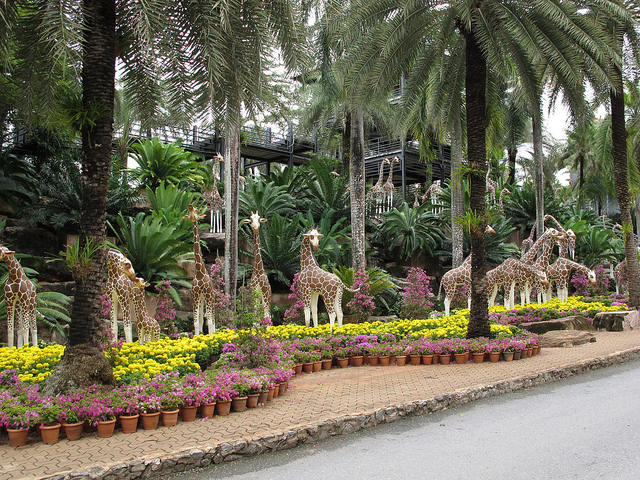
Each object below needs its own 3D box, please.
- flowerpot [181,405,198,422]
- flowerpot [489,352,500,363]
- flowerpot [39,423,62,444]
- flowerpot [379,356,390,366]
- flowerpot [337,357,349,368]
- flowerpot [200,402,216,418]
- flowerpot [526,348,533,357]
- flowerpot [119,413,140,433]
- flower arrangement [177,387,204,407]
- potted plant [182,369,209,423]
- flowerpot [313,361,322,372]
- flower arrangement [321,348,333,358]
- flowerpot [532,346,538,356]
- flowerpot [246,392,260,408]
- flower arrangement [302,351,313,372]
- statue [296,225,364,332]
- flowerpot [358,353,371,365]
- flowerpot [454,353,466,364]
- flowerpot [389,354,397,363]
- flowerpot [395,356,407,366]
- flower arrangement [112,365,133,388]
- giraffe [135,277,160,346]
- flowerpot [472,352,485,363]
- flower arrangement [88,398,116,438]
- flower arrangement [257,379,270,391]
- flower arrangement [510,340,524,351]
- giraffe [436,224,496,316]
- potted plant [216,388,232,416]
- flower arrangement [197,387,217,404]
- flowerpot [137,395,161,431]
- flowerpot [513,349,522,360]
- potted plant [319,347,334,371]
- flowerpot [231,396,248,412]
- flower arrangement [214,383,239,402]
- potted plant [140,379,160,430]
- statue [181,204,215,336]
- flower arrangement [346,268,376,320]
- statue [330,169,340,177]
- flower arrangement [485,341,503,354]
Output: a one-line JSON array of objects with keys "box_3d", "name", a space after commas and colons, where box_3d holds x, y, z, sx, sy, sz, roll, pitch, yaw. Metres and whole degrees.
[{"box_3d": [-1.973, 2.627, 9.483, 0.209, 0.194, 0.232, 0, -6, 6], "name": "flowerpot"}, {"box_3d": [3.595, 2.402, 12.833, 0.169, 0.157, 0.188, 3, -2, 5], "name": "flowerpot"}, {"box_3d": [-3.804, 2.728, 8.811, 0.221, 0.203, 0.244, 1, -7, 4], "name": "flowerpot"}, {"box_3d": [1.370, 2.544, 13.115, 0.153, 0.135, 0.168, 2, -1, 23], "name": "flowerpot"}, {"box_3d": [0.486, 2.540, 13.016, 0.166, 0.154, 0.184, 2, 1, 18], "name": "flowerpot"}, {"box_3d": [-1.733, 2.622, 9.612, 0.212, 0.193, 0.233, 1, 3, -2], "name": "flowerpot"}, {"box_3d": [4.465, 2.391, 13.272, 0.149, 0.132, 0.148, -1, 6, -36], "name": "flowerpot"}, {"box_3d": [-2.774, 2.671, 9.071, 0.214, 0.193, 0.224, 3, -3, -20], "name": "flowerpot"}, {"box_3d": [-1.955, 2.330, 9.502, 0.257, 0.237, 0.300, 2, -1, 35], "name": "flower arrangement"}, {"box_3d": [-1.940, 2.488, 9.753, 0.384, 0.471, 0.657, 1, 9, -13], "name": "potted plant"}, {"box_3d": [-0.054, 2.565, 12.678, 0.154, 0.135, 0.164, 1, 0, -14], "name": "flowerpot"}, {"box_3d": [0.139, 2.342, 12.937, 0.286, 0.173, 0.188, -2, 10, -32], "name": "flower arrangement"}, {"box_3d": [4.608, 2.368, 13.445, 0.155, 0.199, 0.169, -4, 10, -22], "name": "flowerpot"}, {"box_3d": [-1.090, 2.602, 10.100, 0.167, 0.144, 0.173, 2, 1, -22], "name": "flowerpot"}, {"box_3d": [-0.241, 2.458, 12.509, 0.263, 0.234, 0.291, 0, 1, 5], "name": "flower arrangement"}, {"box_3d": [0.047, 1.035, 15.345, 1.351, 2.527, 1.431, 8, 9, 31], "name": "statue"}, {"box_3d": [0.964, 2.525, 13.244, 0.202, 0.179, 0.222, 3, 3, 2], "name": "flowerpot"}, {"box_3d": [2.872, 2.423, 12.784, 0.178, 0.155, 0.188, 3, -1, 40], "name": "flowerpot"}, {"box_3d": [1.539, 2.503, 13.162, 0.147, 0.132, 0.153, 0, 8, -22], "name": "flowerpot"}, {"box_3d": [1.699, 2.521, 13.018, 0.148, 0.137, 0.163, 3, -2, 21], "name": "flowerpot"}, {"box_3d": [-3.259, 2.247, 10.286, 0.268, 0.268, 0.255, 2, -17, -3], "name": "flower arrangement"}, {"box_3d": [-3.604, 1.481, 13.016, 0.506, 1.399, 0.918, 0, 9, -16], "name": "giraffe"}, {"box_3d": [3.247, 2.395, 12.754, 0.170, 0.154, 0.178, 3, 0, 41], "name": "flowerpot"}, {"box_3d": [-3.129, 2.567, 9.027, 0.353, 0.515, 0.301, 2, -7, -45], "name": "flower arrangement"}, {"box_3d": [-0.907, 2.387, 10.240, 0.149, 0.145, 0.147, 5, -7, -24], "name": "flower arrangement"}, {"box_3d": [4.062, 2.174, 12.885, 0.190, 0.186, 0.165, -8, 0, -42], "name": "flower arrangement"}, {"box_3d": [4.322, 0.920, 18.472, 1.639, 2.818, 0.628, -3, 11, 12], "name": "giraffe"}, {"box_3d": [-1.502, 2.527, 9.822, 0.315, 0.383, 0.324, 1, 3, -12], "name": "potted plant"}, {"box_3d": [-1.730, 2.381, 9.594, 0.200, 0.204, 0.215, 6, -12, -26], "name": "flower arrangement"}, {"box_3d": [-2.537, 2.561, 9.280, 0.349, 0.539, 0.410, -6, -8, 35], "name": "flowerpot"}, {"box_3d": [4.106, 2.385, 12.968, 0.181, 0.167, 0.200, 3, 5, 0], "name": "flowerpot"}, {"box_3d": [0.115, 2.458, 12.919, 0.325, 0.387, 0.322, 5, -7, -42], "name": "potted plant"}, {"box_3d": [-1.277, 2.604, 9.907, 0.200, 0.175, 0.216, 1, -2, -10], "name": "flowerpot"}, {"box_3d": [-1.476, 2.392, 9.800, 0.363, 0.232, 0.200, 2, 8, -11], "name": "flower arrangement"}, {"box_3d": [-2.481, 2.530, 9.249, 0.231, 0.415, 0.209, -10, -4, 32], "name": "potted plant"}, {"box_3d": [-2.656, 0.708, 14.027, 0.649, 3.004, 0.947, 1, 8, -13], "name": "statue"}, {"box_3d": [1.138, 1.473, 16.551, 0.625, 1.253, 0.670, -5, 31, 0], "name": "flower arrangement"}, {"box_3d": [0.593, -2.422, 23.216, 0.273, 0.225, 0.366, 1, 18, -28], "name": "statue"}, {"box_3d": [3.559, 2.218, 12.887, 0.191, 0.162, 0.207, 2, 3, -11], "name": "flower arrangement"}]
